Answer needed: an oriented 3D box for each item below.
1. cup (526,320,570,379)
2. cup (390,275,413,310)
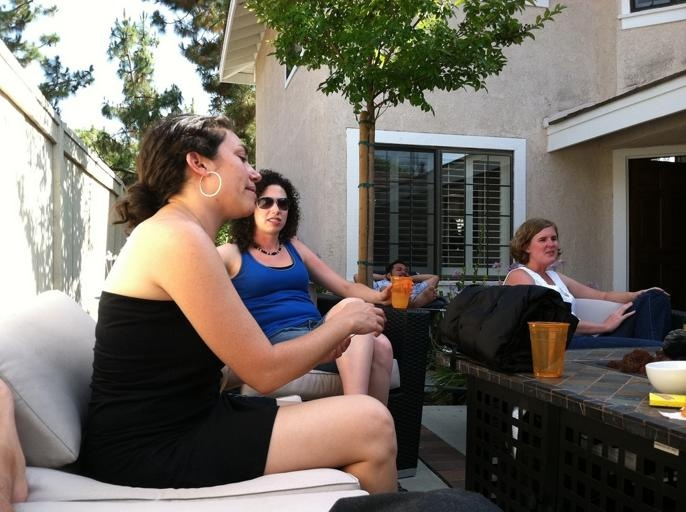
[{"bbox_3d":[0.772,0.347,2.319,0.153,0.178,0.150,2,0,0],"label":"cup"},{"bbox_3d":[0.302,0.198,3.278,0.138,0.163,0.147,2,0,0],"label":"cup"}]
